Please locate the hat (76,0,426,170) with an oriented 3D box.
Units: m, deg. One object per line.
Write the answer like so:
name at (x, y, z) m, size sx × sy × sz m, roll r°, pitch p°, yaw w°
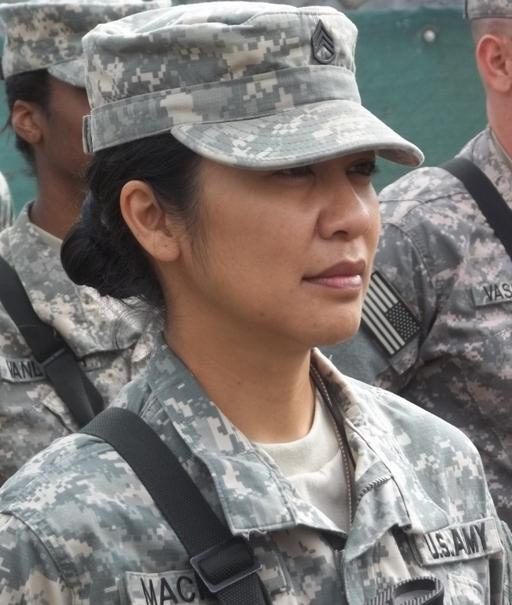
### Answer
hat at (-0.003, -0.447, 2.282) m, size 0.622 × 0.263 × 0.470 m, roll 5°, pitch 7°, yaw 29°
